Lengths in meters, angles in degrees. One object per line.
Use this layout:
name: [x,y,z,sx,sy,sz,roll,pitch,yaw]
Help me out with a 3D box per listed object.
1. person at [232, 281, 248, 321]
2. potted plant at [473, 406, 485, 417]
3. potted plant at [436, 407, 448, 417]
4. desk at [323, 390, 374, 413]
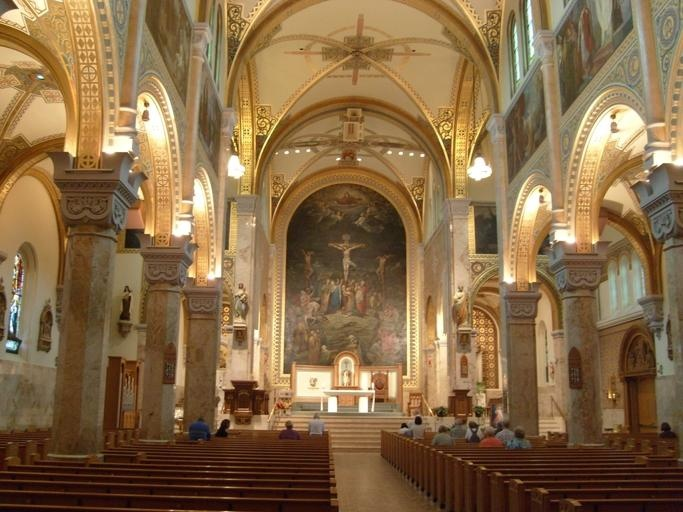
person: [-3.596,1.660,22.960,0.527,1.523,0.562,3,-16,-8]
potted plant: [5.123,5.831,23.887,0.378,0.393,0.378,2,-13,0]
potted plant: [3.706,5.801,23.682,0.328,0.248,0.335,10,-19,-25]
desk: [0.306,6.752,29.398,2.438,1.151,4.513,0,-17,1]
